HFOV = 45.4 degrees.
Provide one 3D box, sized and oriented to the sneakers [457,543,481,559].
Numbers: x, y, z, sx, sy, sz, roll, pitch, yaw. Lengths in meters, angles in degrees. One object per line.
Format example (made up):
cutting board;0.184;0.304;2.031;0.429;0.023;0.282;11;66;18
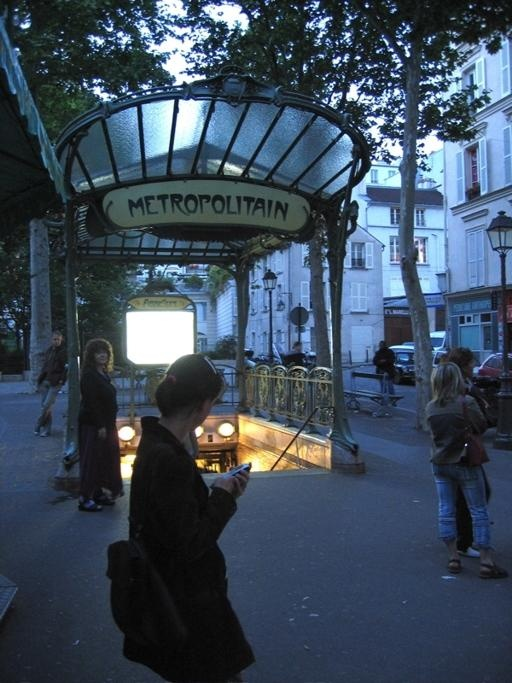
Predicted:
sneakers;1.706;1.706;4.943;0.189;0.065;0.061;-2;-3;14

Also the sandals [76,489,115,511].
sandals;-1.627;1.631;6.272;0.470;0.162;0.164;-1;1;-16

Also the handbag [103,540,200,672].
handbag;-0.313;0.723;1.732;0.242;0.288;0.119;0;-2;8

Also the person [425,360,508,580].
person;1.505;0.921;4.455;0.528;1.527;0.267;0;-2;17

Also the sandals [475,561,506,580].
sandals;1.660;1.640;4.360;0.196;0.089;0.082;-3;0;1

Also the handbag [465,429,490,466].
handbag;1.597;0.773;4.426;0.234;0.252;0.097;2;-2;-42

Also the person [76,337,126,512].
person;-1.599;0.850;6.299;0.422;1.728;0.317;2;-2;-27

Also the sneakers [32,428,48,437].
sneakers;-4.133;1.767;11.834;0.284;0.116;0.382;0;6;-20
